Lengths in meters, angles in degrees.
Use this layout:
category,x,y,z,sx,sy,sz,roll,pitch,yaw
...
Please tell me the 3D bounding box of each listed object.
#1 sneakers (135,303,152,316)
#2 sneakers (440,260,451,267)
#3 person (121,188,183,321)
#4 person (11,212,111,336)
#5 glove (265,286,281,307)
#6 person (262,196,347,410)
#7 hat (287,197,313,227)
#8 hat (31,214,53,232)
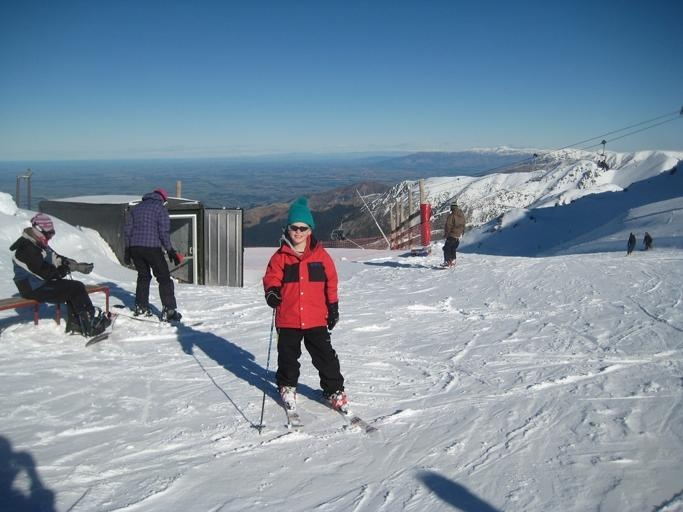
category,x,y,z,sx,sy,sz,roll,pitch,yaw
sneakers,-3.515,0.969,10.643,0.240,0.179,0.249,0,2,0
sneakers,2.925,0.216,16.544,0.173,0.073,0.230,-17,-6,34
person,-3.325,0.067,10.450,0.861,2.256,0.483,-6,12,-19
person,-4.428,0.331,9.298,1.177,1.965,0.415,-7,12,-22
glove,-0.872,0.495,7.165,0.118,0.222,0.194,-6,17,22
person,-0.463,0.624,7.396,0.955,2.685,0.549,-3,11,-1
hat,-0.506,-0.516,7.284,0.320,0.406,0.332,-3,10,-4
hat,-4.595,-0.506,9.156,0.270,0.265,0.418,-7,10,-26
